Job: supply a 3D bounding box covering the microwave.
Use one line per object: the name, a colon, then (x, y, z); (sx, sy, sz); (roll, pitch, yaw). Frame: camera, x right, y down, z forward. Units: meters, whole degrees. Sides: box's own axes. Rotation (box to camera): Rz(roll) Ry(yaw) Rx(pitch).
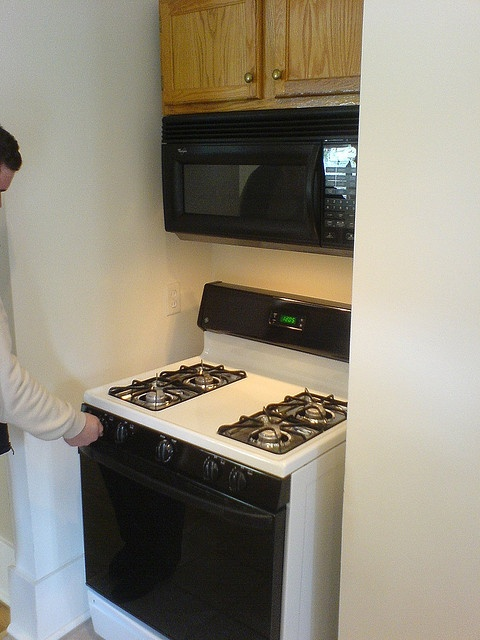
microwave: (0.084, -0.445, 1.655); (0.612, 0.408, 0.325); (8, 22, 22)
